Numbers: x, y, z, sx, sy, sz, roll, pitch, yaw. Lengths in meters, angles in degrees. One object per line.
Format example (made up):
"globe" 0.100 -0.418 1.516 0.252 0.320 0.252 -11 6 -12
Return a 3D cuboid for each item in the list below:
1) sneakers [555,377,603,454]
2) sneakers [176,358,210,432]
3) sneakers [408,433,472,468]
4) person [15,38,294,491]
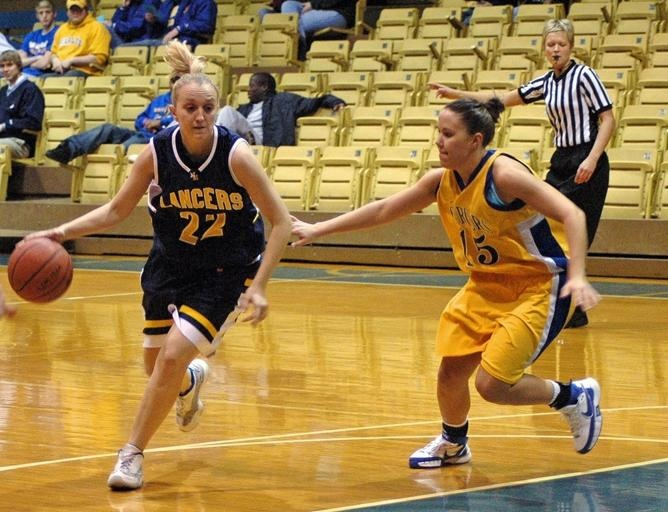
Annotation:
"sneakers" 0.872 0.573 2.533 0.156 0.310 0.110 5 -20 -16
"sneakers" -0.594 0.539 2.711 0.114 0.304 0.147 3 -16 17
"sneakers" 0.374 0.698 2.467 0.244 0.100 0.087 2 -4 -18
"person" -0.537 -0.039 2.429 0.718 1.541 0.806 -3 7 -21
